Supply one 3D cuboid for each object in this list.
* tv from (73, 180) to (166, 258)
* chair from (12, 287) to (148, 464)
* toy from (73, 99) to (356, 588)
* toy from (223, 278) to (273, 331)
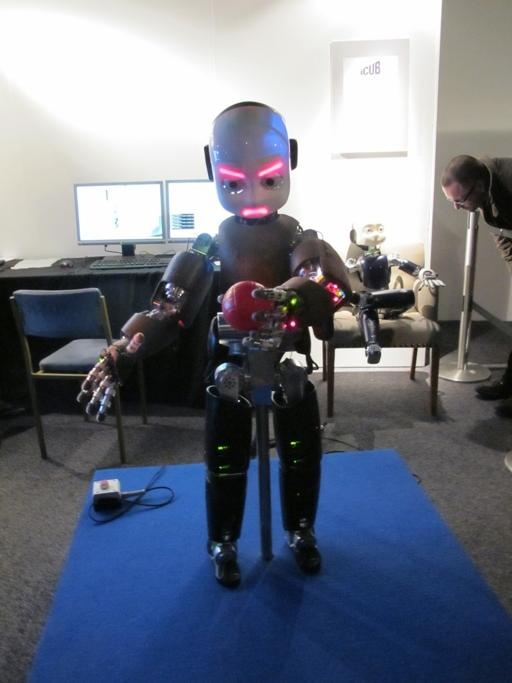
[{"bbox_3d":[-0.804,-0.739,3.218,0.522,0.358,0.138,0,23,1],"label":"tv"},{"bbox_3d":[-0.783,0.122,2.560,0.503,0.800,0.537,3,15,20],"label":"chair"},{"bbox_3d":[-0.107,0.050,1.283,0.700,1.131,0.528,-4,13,-12],"label":"toy"},{"bbox_3d":[-0.022,-0.070,1.169,0.102,0.116,0.102,-10,-11,-7],"label":"toy"}]
